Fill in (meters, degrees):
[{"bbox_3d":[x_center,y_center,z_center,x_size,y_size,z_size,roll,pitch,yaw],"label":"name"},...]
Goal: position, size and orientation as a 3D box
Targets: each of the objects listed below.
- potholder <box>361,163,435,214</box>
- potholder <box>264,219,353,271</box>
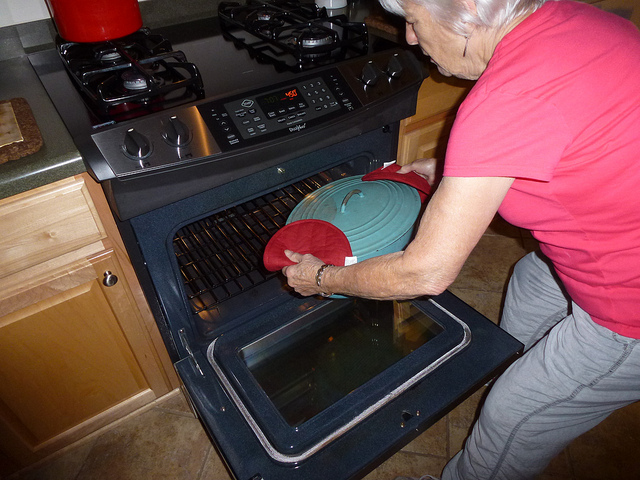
[{"bbox_3d":[0.219,-0.159,1.344,0.182,0.141,0.150,15,49,14],"label":"potholder"},{"bbox_3d":[-0.024,0.010,1.200,0.219,0.081,0.117,4,47,4],"label":"potholder"}]
